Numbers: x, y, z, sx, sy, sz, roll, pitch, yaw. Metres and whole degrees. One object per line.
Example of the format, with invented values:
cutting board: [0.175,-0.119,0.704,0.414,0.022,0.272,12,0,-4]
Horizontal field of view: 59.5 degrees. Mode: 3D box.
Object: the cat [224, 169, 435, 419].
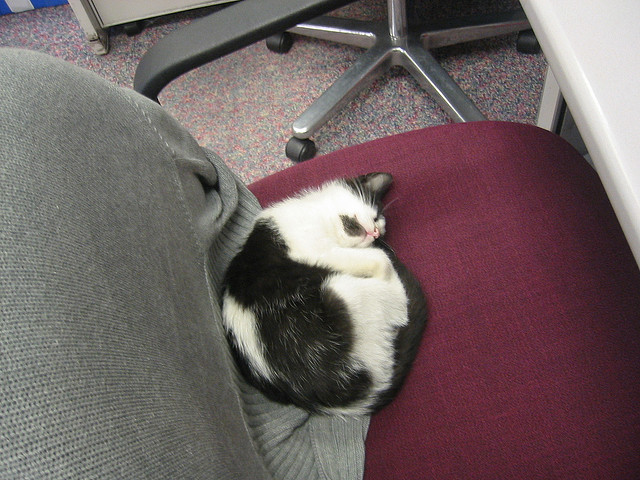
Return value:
cat: [0.000,0.083,0.926,0.324,0.114,0.439,-11,48,2]
